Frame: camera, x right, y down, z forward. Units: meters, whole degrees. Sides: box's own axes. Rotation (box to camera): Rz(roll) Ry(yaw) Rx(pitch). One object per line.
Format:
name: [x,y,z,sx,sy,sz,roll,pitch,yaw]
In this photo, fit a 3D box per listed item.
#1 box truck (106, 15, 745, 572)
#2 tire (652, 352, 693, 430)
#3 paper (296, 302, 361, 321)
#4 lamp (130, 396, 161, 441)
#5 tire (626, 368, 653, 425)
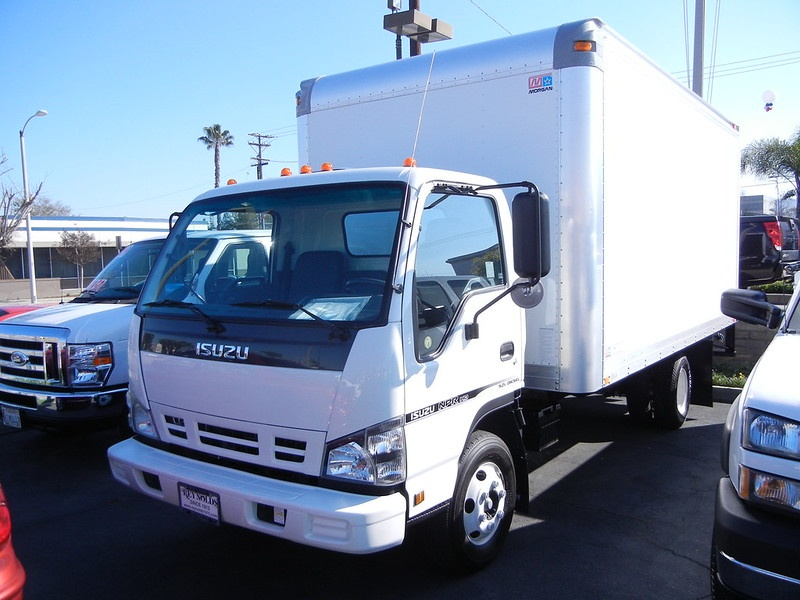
box truck: [0.673,-0.242,6.690,3.532,3.822,6.695,0,0,41]
tire: [3.677,1.209,8.270,0.328,1.035,0.964,-1,14,40]
paper: [-0.448,0.079,4.223,0.272,0.044,0.200,0,14,29]
lamp: [-2.027,0.942,4.974,0.250,0.341,0.117,23,28,39]
tire: [3.223,1.255,8.106,0.191,0.572,0.538,-7,-17,38]
